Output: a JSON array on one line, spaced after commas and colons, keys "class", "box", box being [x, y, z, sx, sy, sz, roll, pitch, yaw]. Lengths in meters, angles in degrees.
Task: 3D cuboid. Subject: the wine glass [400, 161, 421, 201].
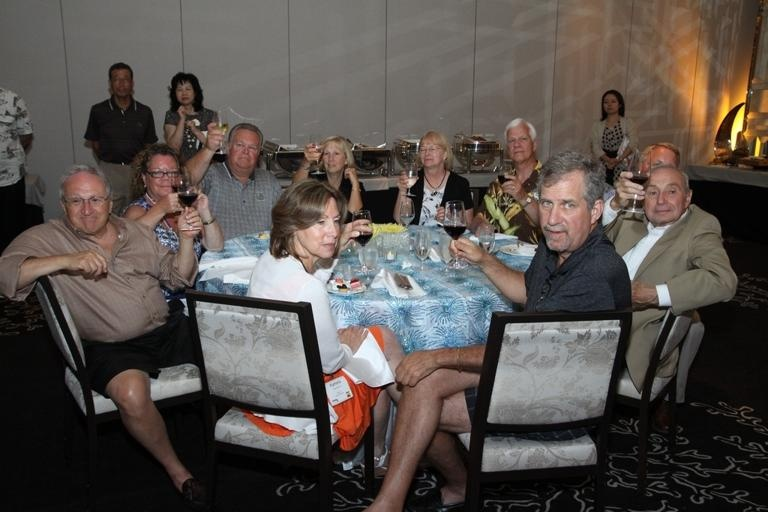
[{"class": "wine glass", "box": [0.194, -0.541, 3.870, 0.112, 0.235, 0.108, -8, 28, -38]}]

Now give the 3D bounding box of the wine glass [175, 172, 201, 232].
[{"class": "wine glass", "box": [-1.079, -0.317, 2.947, 0.119, 0.271, 0.110, -6, 22, -27]}]

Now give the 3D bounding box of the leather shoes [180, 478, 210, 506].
[{"class": "leather shoes", "box": [-0.963, 1.199, 2.716, 0.103, 0.142, 0.054, -22, -18, -35]}]

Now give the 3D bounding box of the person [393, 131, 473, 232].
[{"class": "person", "box": [0.386, -0.370, 4.312, 0.619, 1.152, 0.521, -3, 16, -8]}]

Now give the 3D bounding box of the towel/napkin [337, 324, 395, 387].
[{"class": "towel/napkin", "box": [-0.079, 0.465, 2.501, 0.251, 0.104, 0.214, -13, 20, -42]}]
